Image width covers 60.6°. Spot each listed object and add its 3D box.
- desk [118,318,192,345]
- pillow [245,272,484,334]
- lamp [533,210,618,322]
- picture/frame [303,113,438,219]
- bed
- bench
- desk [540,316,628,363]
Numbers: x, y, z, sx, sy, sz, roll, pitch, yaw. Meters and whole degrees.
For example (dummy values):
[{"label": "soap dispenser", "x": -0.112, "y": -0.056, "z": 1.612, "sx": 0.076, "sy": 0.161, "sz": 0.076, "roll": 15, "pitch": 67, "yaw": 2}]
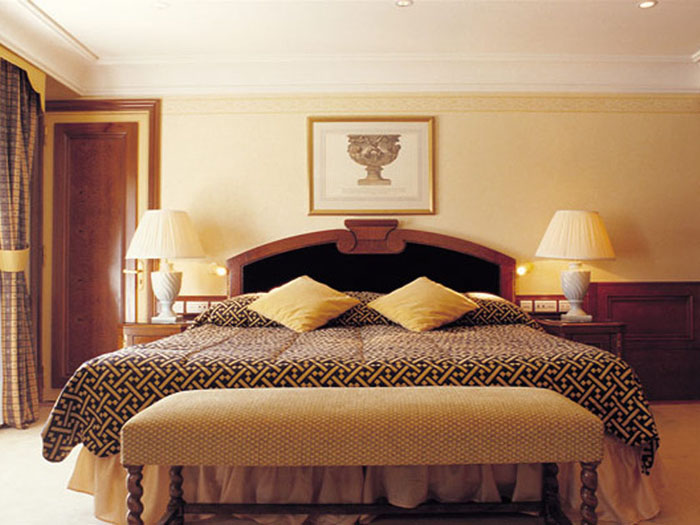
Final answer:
[{"label": "desk", "x": -1.554, "y": 0.545, "z": 4.688, "sx": 0.401, "sy": 0.272, "sz": 0.218, "roll": 0, "pitch": -2, "yaw": -4}, {"label": "pillow", "x": 0.077, "y": 0.323, "z": 4.726, "sx": 1.229, "sy": 0.417, "sz": 0.243, "roll": 1, "pitch": 15, "yaw": 2}, {"label": "lamp", "x": 1.884, "y": 0.034, "z": 5.033, "sx": 0.758, "sy": 0.794, "sz": 0.658, "roll": -1, "pitch": -8, "yaw": 15}, {"label": "picture/frame", "x": 0.196, "y": -0.858, "z": 5.271, "sx": 1.434, "sy": 0.841, "sz": 0.037, "roll": -7, "pitch": 14, "yaw": -36}, {"label": "bed", "x": 0.249, "y": 0.886, "z": 4.380, "sx": 3.432, "sy": 1.349, "sz": 2.170, "roll": 0, "pitch": -4, "yaw": 1}, {"label": "bench", "x": 0.057, "y": 0.953, "z": 2.992, "sx": 2.311, "sy": 0.604, "sz": 0.315, "roll": 0, "pitch": 6, "yaw": 0}, {"label": "desk", "x": 1.825, "y": 0.594, "z": 4.765, "sx": 0.467, "sy": 0.584, "sz": 0.388, "roll": -1, "pitch": 0, "yaw": -17}]
